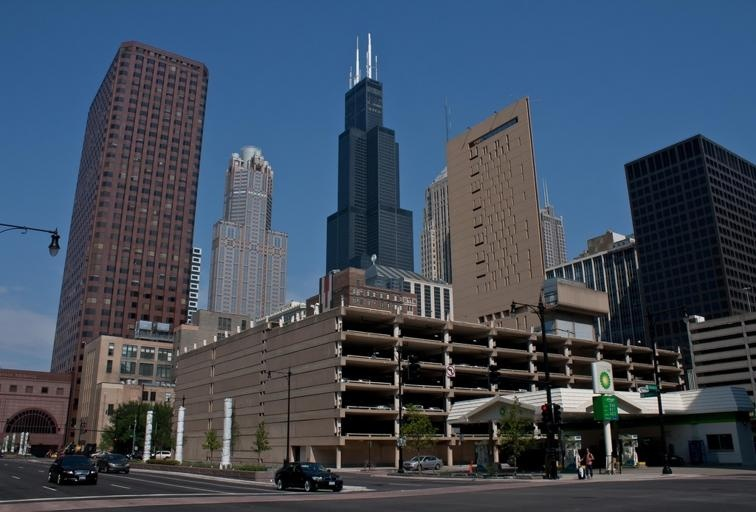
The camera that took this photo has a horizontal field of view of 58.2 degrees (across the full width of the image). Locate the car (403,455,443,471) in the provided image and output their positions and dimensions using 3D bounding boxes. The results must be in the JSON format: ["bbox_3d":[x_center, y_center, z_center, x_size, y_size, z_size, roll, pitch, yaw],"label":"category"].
[{"bbox_3d":[6.607,30.243,98.864,4.961,1.556,2.237,13,-25,-28],"label":"car"}]

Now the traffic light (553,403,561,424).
[{"bbox_3d":[19.829,17.743,75.693,0.734,2.189,1.285,-3,-21,8],"label":"traffic light"}]

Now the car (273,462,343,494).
[{"bbox_3d":[-8.097,23.859,72.729,3.095,2.183,6.773,18,-26,-41],"label":"car"}]
